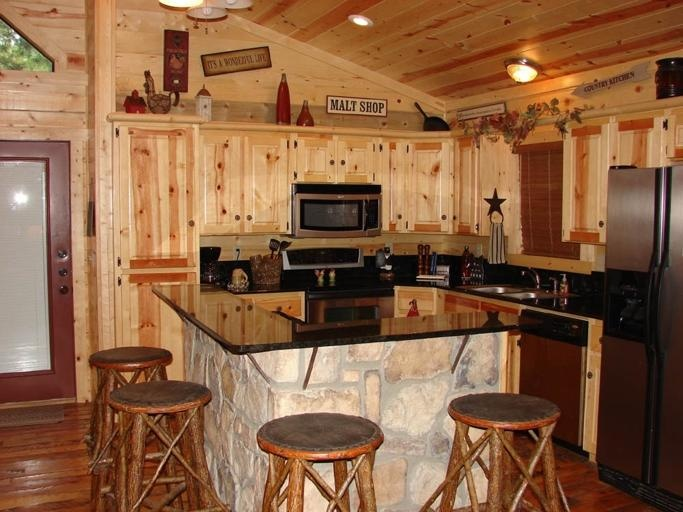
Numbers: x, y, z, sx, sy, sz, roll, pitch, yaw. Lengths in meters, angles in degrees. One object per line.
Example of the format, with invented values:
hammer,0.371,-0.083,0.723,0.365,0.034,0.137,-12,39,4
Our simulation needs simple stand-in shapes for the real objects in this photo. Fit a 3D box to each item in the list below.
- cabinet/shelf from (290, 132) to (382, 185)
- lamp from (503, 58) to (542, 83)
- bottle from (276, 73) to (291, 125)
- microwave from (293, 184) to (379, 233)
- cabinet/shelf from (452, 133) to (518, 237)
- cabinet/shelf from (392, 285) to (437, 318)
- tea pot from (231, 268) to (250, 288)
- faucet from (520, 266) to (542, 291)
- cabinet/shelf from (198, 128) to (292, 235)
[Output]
cabinet/shelf,-0.133,-0.951,5.570,1.026,0.467,0.328,-8,10,-40
lamp,1.518,-1.568,4.685,0.271,0.172,0.156,1,8,15
bottle,-0.568,-1.510,5.358,0.146,0.525,0.363,-2,8,-4
microwave,-0.055,-0.443,5.414,0.879,0.483,0.513,-1,3,-20
cabinet/shelf,1.336,-0.694,5.377,0.204,0.946,0.662,-8,10,-34
cabinet/shelf,0.721,0.429,5.441,0.421,0.284,0.119,-1,9,3
tea pot,-0.957,0.197,5.208,0.154,0.171,0.205,-3,8,-10
faucet,1.756,0.188,5.144,0.139,0.158,0.319,-2,7,-1
cabinet/shelf,-0.928,-0.713,5.134,1.133,0.969,0.552,0,2,-19
